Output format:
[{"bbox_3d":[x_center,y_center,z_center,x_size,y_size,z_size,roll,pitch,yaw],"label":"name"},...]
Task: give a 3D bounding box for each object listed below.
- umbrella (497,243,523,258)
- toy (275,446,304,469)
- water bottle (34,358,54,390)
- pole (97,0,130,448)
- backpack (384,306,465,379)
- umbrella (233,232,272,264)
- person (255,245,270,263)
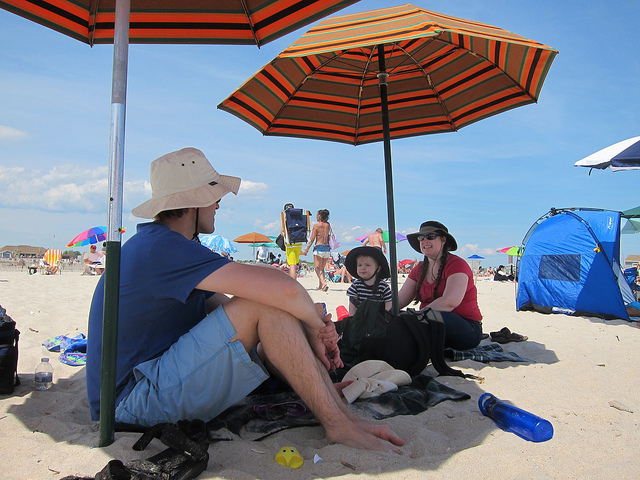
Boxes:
[{"bbox_3d":[8.726,0.501,21.580,0.822,0.562,0.893,3,4,19],"label":"umbrella"},{"bbox_3d":[-0.171,1.238,2.748,0.173,0.061,0.117,3,4,20],"label":"toy"},{"bbox_3d":[-2.220,1.076,3.883,0.165,0.242,0.168,2,-2,0],"label":"water bottle"},{"bbox_3d":[-1.229,-0.151,2.859,0.179,2.662,0.399,0,4,-22],"label":"pole"},{"bbox_3d":[0.824,0.869,4.105,0.587,0.620,0.452,6,-9,-10],"label":"backpack"},{"bbox_3d":[-2.433,0.232,18.571,1.457,1.604,1.417,0,-4,-3],"label":"umbrella"},{"bbox_3d":[-2.099,0.530,17.797,0.650,0.719,0.409,5,-9,-15],"label":"person"}]
